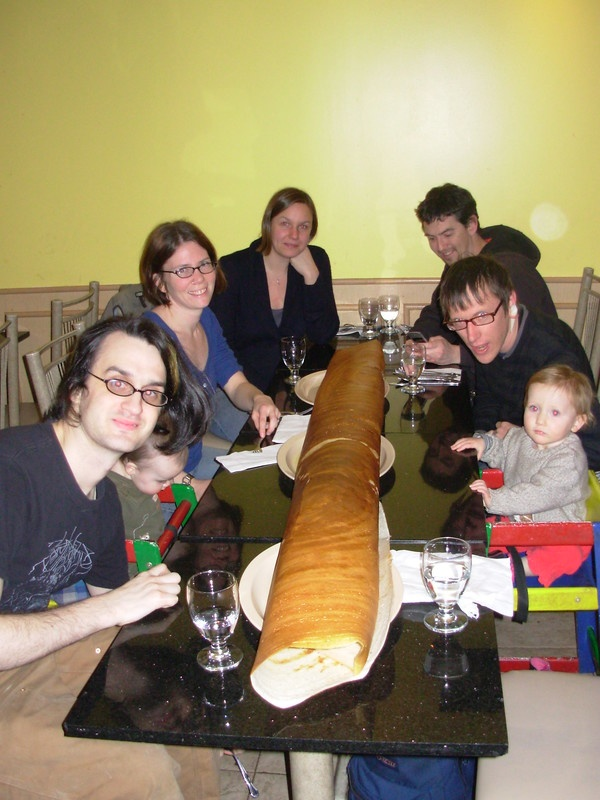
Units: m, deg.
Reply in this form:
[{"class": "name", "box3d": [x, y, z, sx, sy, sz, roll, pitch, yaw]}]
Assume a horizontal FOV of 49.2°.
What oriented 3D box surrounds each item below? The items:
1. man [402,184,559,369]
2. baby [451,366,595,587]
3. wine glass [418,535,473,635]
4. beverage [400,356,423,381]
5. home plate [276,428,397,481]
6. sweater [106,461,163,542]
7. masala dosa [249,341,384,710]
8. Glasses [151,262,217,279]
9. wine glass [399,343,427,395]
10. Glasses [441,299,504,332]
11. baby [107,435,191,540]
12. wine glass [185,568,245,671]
[{"class": "man", "box3d": [0.799, -0.509, 3.137, 0.746, 1.001, 0.600, -8, 21, 24]}, {"class": "baby", "box3d": [0.521, 0.175, 1.509, 0.279, 0.404, 0.353, -3, 28, 4]}, {"class": "wine glass", "box3d": [0.187, 0.266, 0.974, 0.107, 0.149, 0.094, -3, 28, 4]}, {"class": "beverage", "box3d": [0.338, -0.093, 1.981, 0.066, 0.099, 0.068, -3, 16, 0]}, {"class": "home plate", "box3d": [0.054, 0.130, 1.446, 0.140, 0.014, 0.137, 11, 31, 17]}, {"class": "sweater", "box3d": [-0.376, 0.232, 1.495, 0.102, 0.176, 0.135, -16, 34, 1]}, {"class": "masala dosa", "box3d": [0.061, 0.140, 1.022, 0.112, 0.088, 0.648, 0, 27, 12]}, {"class": "Glasses", "box3d": [-0.344, -0.404, 2.039, 0.165, 0.055, 0.075, -6, 12, -13]}, {"class": "wine glass", "box3d": [0.351, -0.090, 2.039, 0.084, 0.189, 0.085, -15, 36, -12]}, {"class": "Glasses", "box3d": [0.504, -0.250, 1.979, 0.083, 0.090, 0.190, -13, 15, -39]}, {"class": "baby", "box3d": [-0.337, 0.195, 1.458, 0.129, 0.162, 0.228, 3, -24, -8]}, {"class": "wine glass", "box3d": [-0.115, 0.308, 0.900, 0.069, 0.098, 0.061, -12, 29, -18]}]
